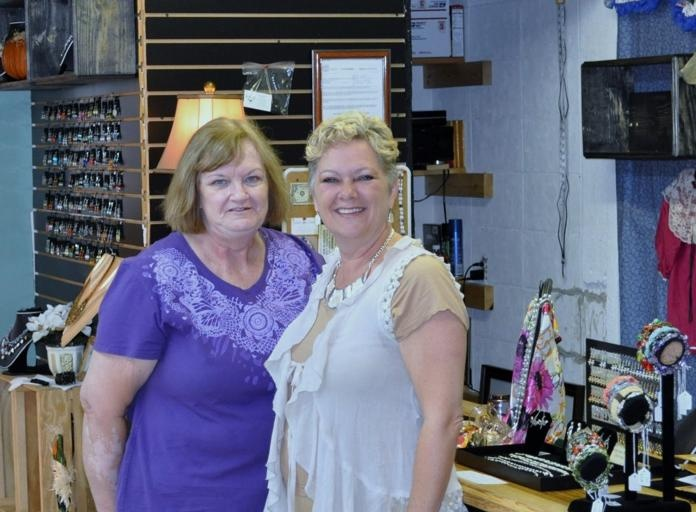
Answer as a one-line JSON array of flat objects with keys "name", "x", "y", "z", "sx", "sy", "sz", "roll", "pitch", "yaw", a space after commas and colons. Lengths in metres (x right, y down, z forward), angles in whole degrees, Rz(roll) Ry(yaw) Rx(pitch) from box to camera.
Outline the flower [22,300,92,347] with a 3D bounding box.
[{"name": "flower", "x": -1.548, "y": 0.364, "z": 3.546, "sx": 0.262, "sy": 0.247, "sz": 0.110, "roll": -12, "pitch": -40, "yaw": 14}]

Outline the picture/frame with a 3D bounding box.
[{"name": "picture/frame", "x": 0.019, "y": -0.946, "z": 3.954, "sx": 0.439, "sy": 0.564, "sz": 0.032, "roll": 0, "pitch": -20, "yaw": 1}]

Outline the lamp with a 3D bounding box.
[{"name": "lamp", "x": -0.759, "y": -0.661, "z": 3.547, "sx": 0.472, "sy": 0.463, "sz": 0.493, "roll": 1, "pitch": -2, "yaw": 9}]

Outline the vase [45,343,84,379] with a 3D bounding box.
[{"name": "vase", "x": -1.496, "y": 0.529, "z": 3.483, "sx": 0.160, "sy": 0.195, "sz": 0.166, "roll": -1, "pitch": 3, "yaw": -25}]

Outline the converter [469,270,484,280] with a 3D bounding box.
[{"name": "converter", "x": 1.201, "y": 0.191, "z": 6.094, "sx": 0.094, "sy": 0.081, "sz": 0.032, "roll": -3, "pitch": 18, "yaw": 5}]

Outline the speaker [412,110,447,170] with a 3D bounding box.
[{"name": "speaker", "x": 0.708, "y": -0.994, "z": 5.797, "sx": 0.257, "sy": 0.553, "sz": 0.538, "roll": 0, "pitch": -8, "yaw": 4}]
